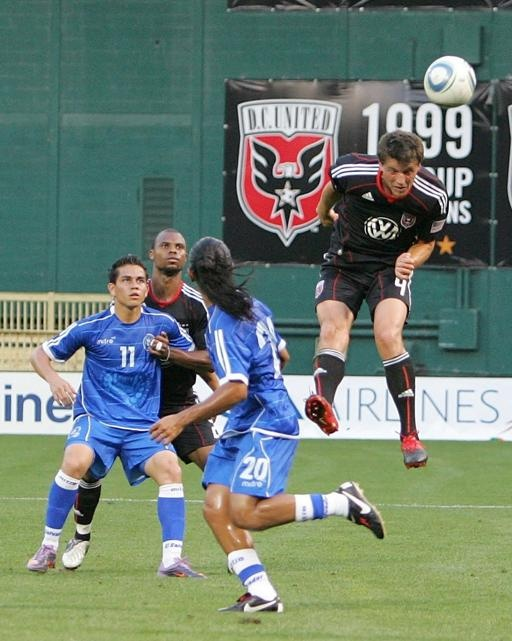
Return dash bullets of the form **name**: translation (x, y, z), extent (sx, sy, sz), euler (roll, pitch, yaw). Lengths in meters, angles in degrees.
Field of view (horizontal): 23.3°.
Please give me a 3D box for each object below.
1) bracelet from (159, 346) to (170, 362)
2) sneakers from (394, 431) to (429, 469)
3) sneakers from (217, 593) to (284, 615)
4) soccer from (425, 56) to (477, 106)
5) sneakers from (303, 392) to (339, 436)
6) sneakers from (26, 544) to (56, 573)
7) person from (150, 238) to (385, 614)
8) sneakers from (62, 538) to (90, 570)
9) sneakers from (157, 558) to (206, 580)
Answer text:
- **bracelet**: translation (-0.487, 0.180, 6.779), extent (0.048, 0.070, 0.054), euler (4, 36, 12)
- **sneakers**: translation (0.844, 0.700, 6.752), extent (0.100, 0.109, 0.245), euler (-7, 8, -3)
- **sneakers**: translation (-0.014, 1.306, 5.790), extent (0.302, 0.117, 0.106), euler (2, -4, 10)
- **soccer**: translation (1.130, -1.419, 7.303), extent (0.280, 0.308, 0.249), euler (2, 3, 6)
- **sneakers**: translation (0.368, 0.497, 6.550), extent (0.139, 0.235, 0.111), euler (-42, 4, 22)
- **sneakers**: translation (-1.126, 1.262, 6.591), extent (0.118, 0.142, 0.262), euler (2, 3, 7)
- **person**: translation (0.022, 0.481, 5.964), extent (0.902, 1.746, 0.573), euler (3, 3, 12)
- **sneakers**: translation (-0.960, 1.268, 6.691), extent (0.078, 0.205, 0.089), euler (13, -27, 22)
- **sneakers**: translation (-0.394, 1.297, 6.477), extent (0.280, 0.103, 0.089), euler (-1, 2, 9)
